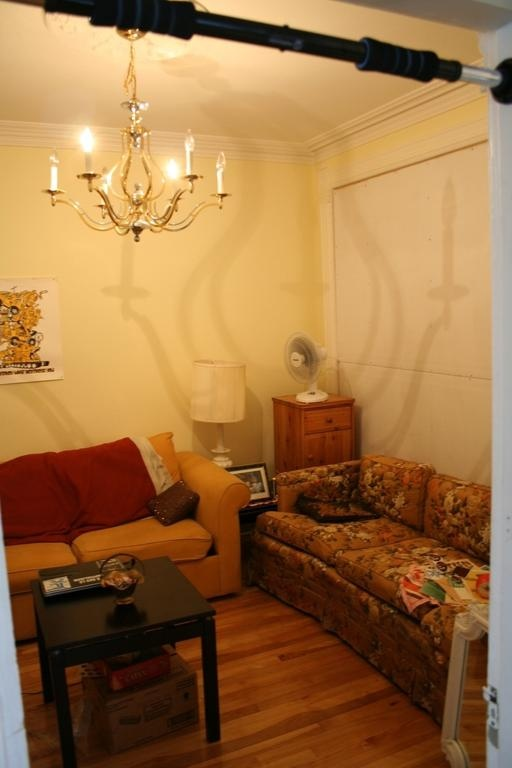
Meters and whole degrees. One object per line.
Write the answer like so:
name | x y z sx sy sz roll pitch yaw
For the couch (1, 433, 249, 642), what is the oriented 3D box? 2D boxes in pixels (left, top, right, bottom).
couch | -0.718 0.997 3.388 1.346 0.949 0.755 -4 4 -26

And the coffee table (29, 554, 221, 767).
coffee table | -0.502 1.058 2.219 0.610 0.512 0.627 -3 3 -27

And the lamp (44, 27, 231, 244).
lamp | -0.614 -1.190 2.912 0.703 0.888 0.733 -4 -5 -5

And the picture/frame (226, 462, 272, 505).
picture/frame | -0.048 0.663 3.806 0.274 0.240 0.020 1 -20 -39

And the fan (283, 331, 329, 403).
fan | 0.393 -0.113 4.174 0.303 0.507 0.323 -13 16 -39

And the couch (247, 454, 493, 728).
couch | 0.699 0.892 3.063 0.851 0.768 1.581 0 3 -29
